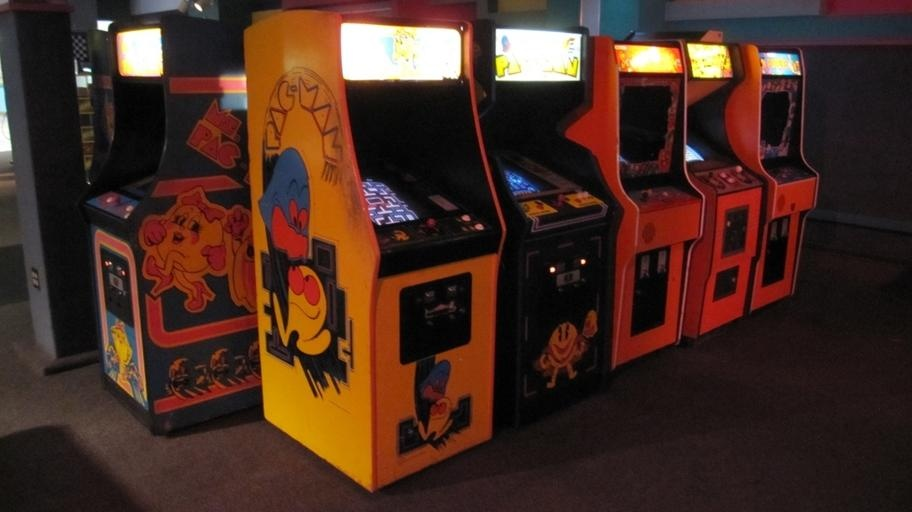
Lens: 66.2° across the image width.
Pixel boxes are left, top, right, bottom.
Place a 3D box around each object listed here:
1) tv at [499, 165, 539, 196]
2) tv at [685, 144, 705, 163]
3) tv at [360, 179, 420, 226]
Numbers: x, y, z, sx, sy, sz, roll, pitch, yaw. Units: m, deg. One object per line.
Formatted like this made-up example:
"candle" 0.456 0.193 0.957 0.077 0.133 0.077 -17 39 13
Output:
"tv" 0.503 -0.561 5.266 0.238 0.133 0.296 -3 23 -4
"tv" 2.126 -0.901 6.236 0.157 0.104 0.274 6 24 17
"tv" -0.455 -0.388 4.835 0.316 0.199 0.399 -8 24 -14
